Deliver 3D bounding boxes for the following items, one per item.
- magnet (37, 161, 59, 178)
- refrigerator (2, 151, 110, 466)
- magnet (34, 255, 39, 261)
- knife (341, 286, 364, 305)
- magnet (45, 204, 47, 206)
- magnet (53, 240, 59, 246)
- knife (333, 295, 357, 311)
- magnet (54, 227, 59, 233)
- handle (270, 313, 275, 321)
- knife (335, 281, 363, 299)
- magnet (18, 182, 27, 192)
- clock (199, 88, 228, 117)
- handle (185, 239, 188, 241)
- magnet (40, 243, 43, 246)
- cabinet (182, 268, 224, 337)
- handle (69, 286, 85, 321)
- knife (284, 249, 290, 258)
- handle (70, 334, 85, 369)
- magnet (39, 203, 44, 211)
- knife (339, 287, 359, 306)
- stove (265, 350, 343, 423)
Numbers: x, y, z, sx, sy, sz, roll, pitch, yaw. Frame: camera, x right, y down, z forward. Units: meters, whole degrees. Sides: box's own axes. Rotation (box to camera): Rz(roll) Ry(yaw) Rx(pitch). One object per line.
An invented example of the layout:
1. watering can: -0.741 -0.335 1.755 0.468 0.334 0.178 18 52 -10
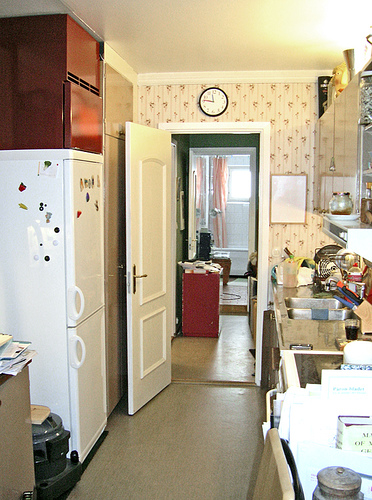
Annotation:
1. magnet: -0.746 -0.437 2.268 0.080 0.079 0.013 2 0 8
2. refrigerator: -0.735 0.357 2.482 0.641 1.901 0.448 -1 3 -31
3. magnet: -0.834 0.042 2.328 0.024 0.028 0.006 0 -3 -4
4. knife: 0.919 0.252 2.329 0.063 0.116 0.030 -41 -13 2
5. magnet: -0.768 -0.244 2.283 0.009 0.010 0.018 1 2 -1
6. magnet: -0.720 -0.038 2.300 0.023 0.026 0.006 -4 3 2
7. knife: 0.968 0.324 2.562 0.049 0.069 0.260 28 -9 40
8. magnet: -0.711 -0.111 2.289 0.027 0.027 0.005 1 3 5
9. handle: 0.690 0.543 3.390 0.014 0.053 0.052 10 -1 -8
10. knife: 0.995 0.244 2.547 0.027 0.143 0.033 -43 -4 -19
11. magnet: -0.900 -0.345 2.296 0.033 0.035 0.009 44 11 2
12. clock: 0.252 -1.337 3.786 0.229 0.251 0.025 2 7 6
13. handle: -0.006 -0.155 6.535 0.017 0.032 0.033 5 4 31
14. magnet: -0.803 -0.030 2.316 0.008 0.010 0.002 7 -18 -1
15. cabinet: 0.245 0.641 5.552 0.449 0.885 0.566 1 5 11
16. handle: -0.618 0.294 2.337 0.080 0.228 0.051 7 21 4
17. knife: 0.914 0.031 3.828 0.015 0.079 0.018 -30 13 10
18. handle: -0.611 0.571 2.357 0.077 0.200 0.064 1 3 3
19. magnet: -0.791 -0.233 2.288 0.027 0.043 0.005 2 3 21
20. knife: 0.901 0.259 2.331 0.116 0.085 0.045 3 4 36
21. stove: 0.472 0.466 1.639 0.263 0.293 0.377 2 7 7
